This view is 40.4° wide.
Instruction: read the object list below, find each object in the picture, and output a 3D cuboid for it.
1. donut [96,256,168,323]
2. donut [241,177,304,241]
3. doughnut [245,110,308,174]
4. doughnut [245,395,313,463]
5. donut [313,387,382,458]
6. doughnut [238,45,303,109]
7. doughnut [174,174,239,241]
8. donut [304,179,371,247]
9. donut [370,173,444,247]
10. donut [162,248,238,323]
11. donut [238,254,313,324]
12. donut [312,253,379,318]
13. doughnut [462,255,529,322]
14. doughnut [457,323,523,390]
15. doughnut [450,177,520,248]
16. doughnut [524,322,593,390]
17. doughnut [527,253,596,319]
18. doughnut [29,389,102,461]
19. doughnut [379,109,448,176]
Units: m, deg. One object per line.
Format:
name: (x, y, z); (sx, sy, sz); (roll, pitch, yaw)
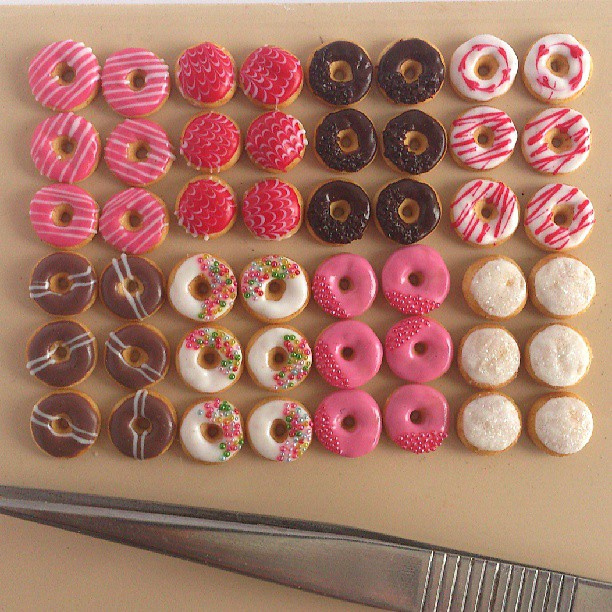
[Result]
donut: (-0.777, -0.089, 3.720); (0.286, 0.117, 0.258); (27, -76, -7)
donut: (-0.155, -0.430, 3.706); (0.256, 0.103, 0.259); (-4, -75, 2)
doughnut: (-0.113, -0.737, 3.728); (0.243, 0.270, 0.074); (-8, -123, 15)
doughnut: (-0.120, 0.538, 3.721); (0.272, 0.097, 0.294); (0, -94, -1)
donut: (0.196, 0.506, 3.705); (0.307, 0.157, 0.272); (25, -76, -6)
doughnut: (-0.156, -1.022, 3.722); (0.277, 0.085, 0.269); (1, -75, 0)
doughnut: (-0.443, -0.431, 3.714); (0.270, 0.069, 0.295); (-1, -88, -1)
donut: (0.134, -0.417, 3.706); (0.300, 0.132, 0.273); (-18, -76, 5)
donut: (0.443, -0.419, 3.632); (0.304, 0.116, 0.332); (-5, -92, -2)
donut: (-0.478, -0.087, 3.729); (0.337, 0.162, 0.326); (1, -75, 0)
donut: (-0.143, -0.073, 3.720); (0.335, 0.125, 0.296); (-6, -75, 2)
donut: (0.144, -0.076, 3.766); (0.274, 0.110, 0.271); (-10, -36, 29)
doughnut: (0.842, -0.077, 3.641); (0.259, 0.067, 0.288); (0, -89, 0)
doughnut: (0.812, 0.222, 3.679); (0.264, 0.073, 0.281); (2, -93, 3)
doughnut: (0.804, -0.421, 3.737); (0.289, 0.098, 0.280); (6, -75, -1)
doughnut: (1.118, 0.217, 3.641); (0.274, 0.078, 0.297); (1, -94, 3)
doughnut: (1.134, -0.089, 3.600); (0.267, 0.067, 0.286); (-2, -92, 0)
doughnut: (-1.076, 0.523, 3.695); (0.282, 0.092, 0.305); (3, -92, 3)
doughnut: (0.478, -0.734, 3.697); (0.280, 0.098, 0.303); (-3, -92, -6)
